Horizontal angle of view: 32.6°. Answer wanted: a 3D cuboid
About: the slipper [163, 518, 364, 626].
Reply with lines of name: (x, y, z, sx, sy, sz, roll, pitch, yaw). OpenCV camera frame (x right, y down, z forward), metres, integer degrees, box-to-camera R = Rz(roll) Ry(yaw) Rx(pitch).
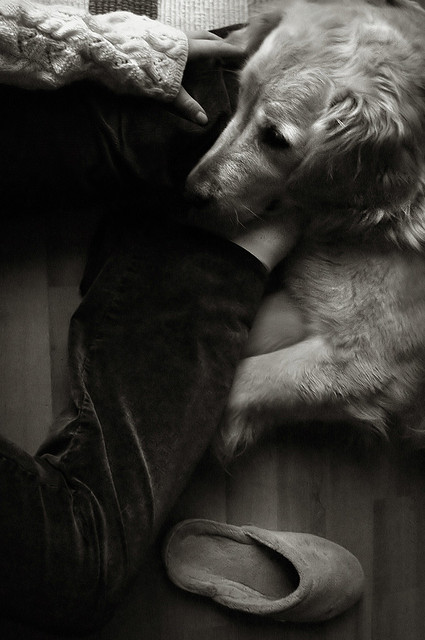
slipper: (0.068, 0.305, 0.942, 0.235, 0.137, 0.095, 4, -2, 7)
